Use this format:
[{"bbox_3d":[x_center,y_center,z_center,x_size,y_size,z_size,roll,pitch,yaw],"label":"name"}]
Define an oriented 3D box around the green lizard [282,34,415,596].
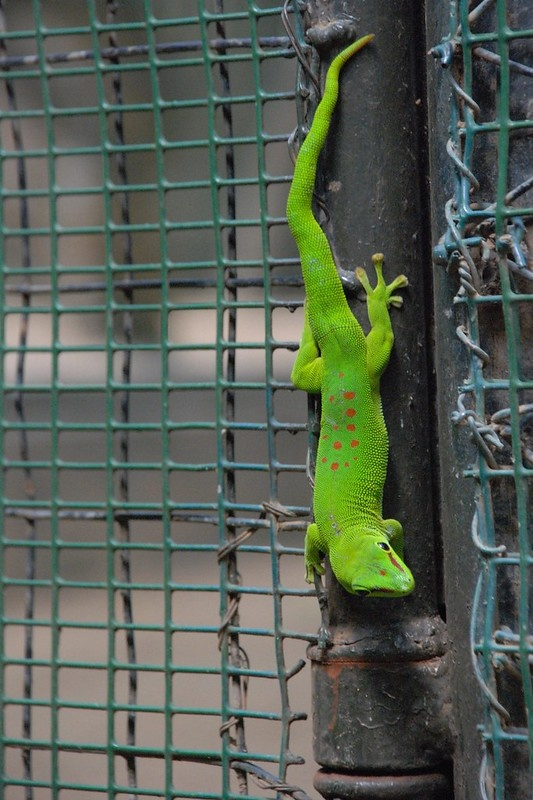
[{"bbox_3d":[0.116,-0.072,2.282,0.169,0.112,0.945,2,95,30],"label":"green lizard"}]
